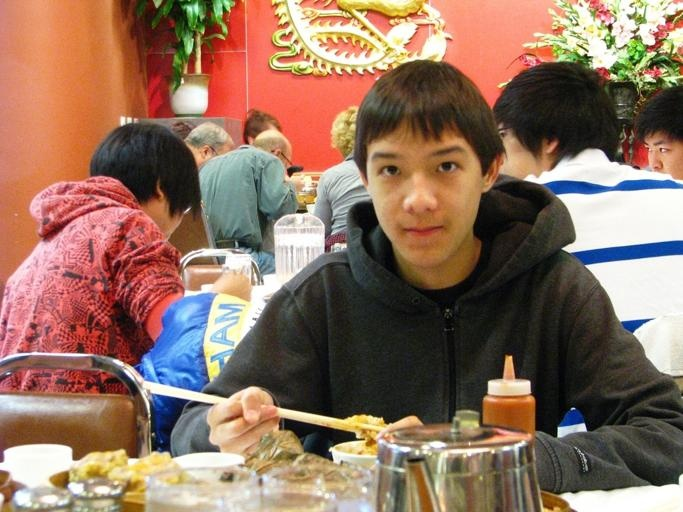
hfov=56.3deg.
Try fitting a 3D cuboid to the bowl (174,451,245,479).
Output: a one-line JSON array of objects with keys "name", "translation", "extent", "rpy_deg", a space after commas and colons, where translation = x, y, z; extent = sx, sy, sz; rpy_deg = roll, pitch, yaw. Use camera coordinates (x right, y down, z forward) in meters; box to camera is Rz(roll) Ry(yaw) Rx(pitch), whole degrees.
[{"name": "bowl", "translation": [-0.171, 0.257, 0.824], "extent": [0.080, 0.021, 0.080], "rpy_deg": [1, 1, 0]}]

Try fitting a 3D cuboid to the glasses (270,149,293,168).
[{"name": "glasses", "translation": [-0.475, -0.765, 5.048], "extent": [0.040, 0.132, 0.126], "rpy_deg": [0, 9, -45]}]
